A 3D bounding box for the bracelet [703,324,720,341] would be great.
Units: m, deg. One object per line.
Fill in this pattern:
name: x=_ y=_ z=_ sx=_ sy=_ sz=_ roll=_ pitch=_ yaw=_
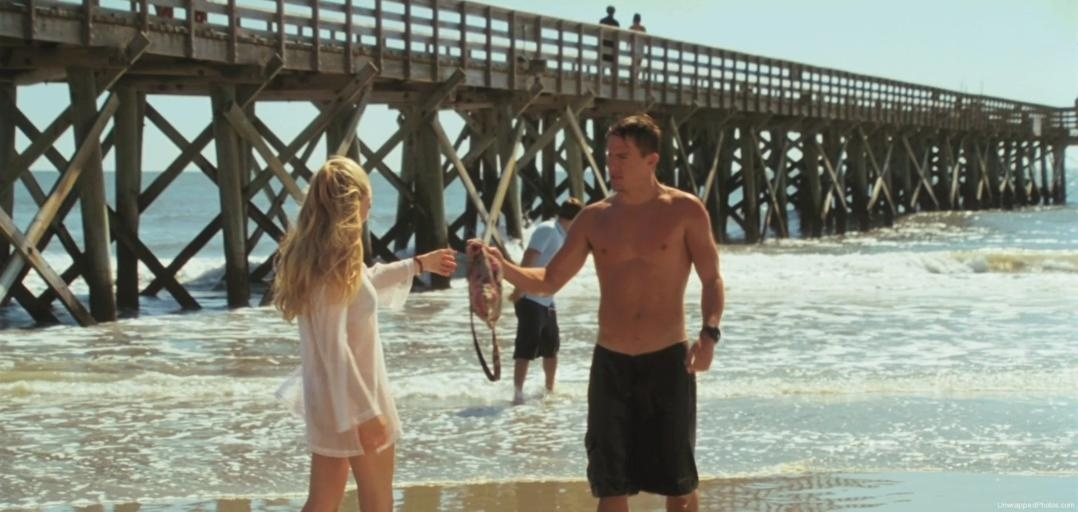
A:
bracelet: x=3.248 y=1.403 z=26.604 sx=0.345 sy=0.209 sz=0.324 roll=16 pitch=-1 yaw=27
